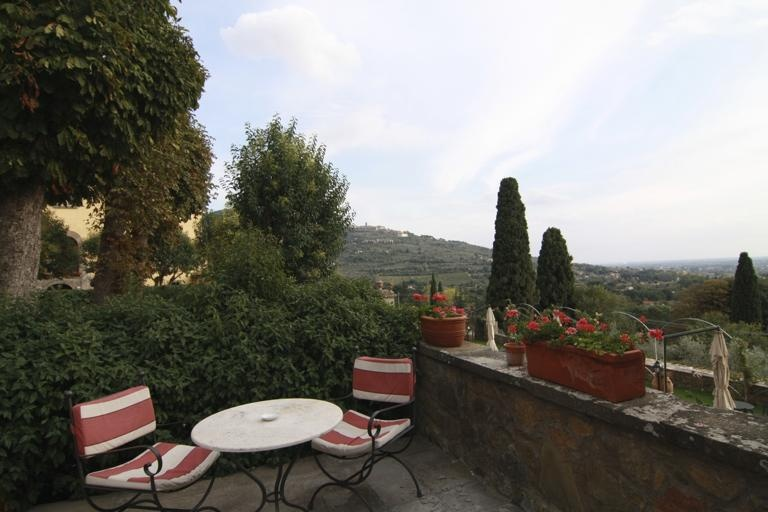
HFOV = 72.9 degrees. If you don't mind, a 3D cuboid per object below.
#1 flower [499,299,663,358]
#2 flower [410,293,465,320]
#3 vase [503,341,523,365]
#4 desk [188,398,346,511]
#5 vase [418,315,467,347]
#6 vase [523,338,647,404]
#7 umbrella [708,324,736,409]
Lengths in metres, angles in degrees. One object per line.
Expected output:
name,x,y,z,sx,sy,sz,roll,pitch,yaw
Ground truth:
flower,2.756,1.096,7.698,1.665,0.583,1.026,2,3,35
flower,0.949,0.883,9.257,0.629,0.408,0.533,-11,-1,41
vase,2.028,1.530,8.221,0.333,0.274,0.342,-1,-8,6
desk,-1.805,3.228,7.981,1.867,1.353,1.816,-1,-7,-12
vase,1.031,1.297,9.032,0.662,0.381,0.515,0,-5,-8
vase,2.954,1.495,7.461,1.003,0.410,0.995,1,-4,-32
umbrella,6.472,2.166,9.958,0.344,1.535,0.744,-1,-2,34
